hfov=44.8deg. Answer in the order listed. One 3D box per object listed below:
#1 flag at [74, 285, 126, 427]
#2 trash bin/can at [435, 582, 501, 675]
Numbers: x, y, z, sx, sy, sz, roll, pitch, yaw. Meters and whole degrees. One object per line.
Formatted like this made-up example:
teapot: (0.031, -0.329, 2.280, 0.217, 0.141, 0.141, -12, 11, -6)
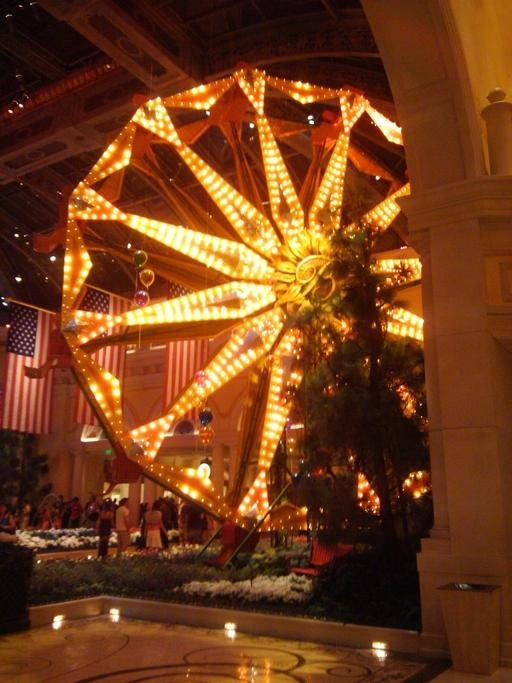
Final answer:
flag: (-3.917, 0.158, 15.906, 1.153, 4.037, 2.446, 6, -18, -16)
trash bin/can: (1.423, 1.884, 4.096, 0.344, 0.525, 0.410, -8, -18, 25)
